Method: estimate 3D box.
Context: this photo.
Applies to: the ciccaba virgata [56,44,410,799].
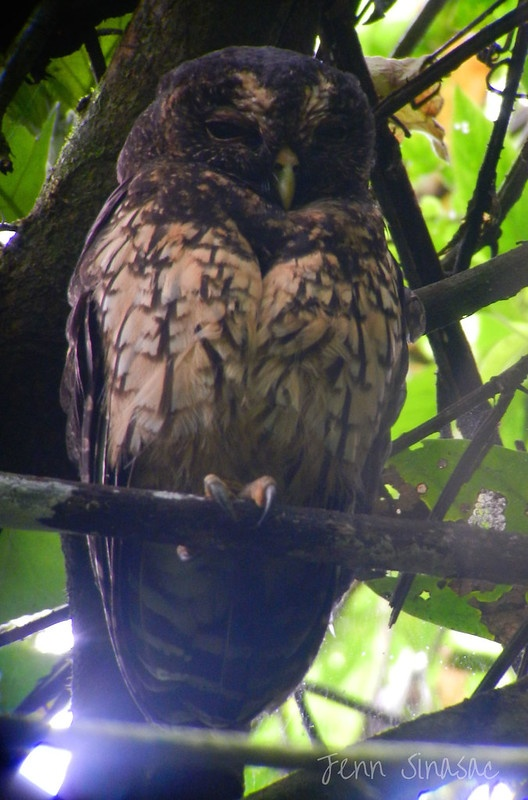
[{"bbox_3d":[-0.033,-0.018,2.159,0.672,1.355,0.588,0,3,-10],"label":"ciccaba virgata"}]
